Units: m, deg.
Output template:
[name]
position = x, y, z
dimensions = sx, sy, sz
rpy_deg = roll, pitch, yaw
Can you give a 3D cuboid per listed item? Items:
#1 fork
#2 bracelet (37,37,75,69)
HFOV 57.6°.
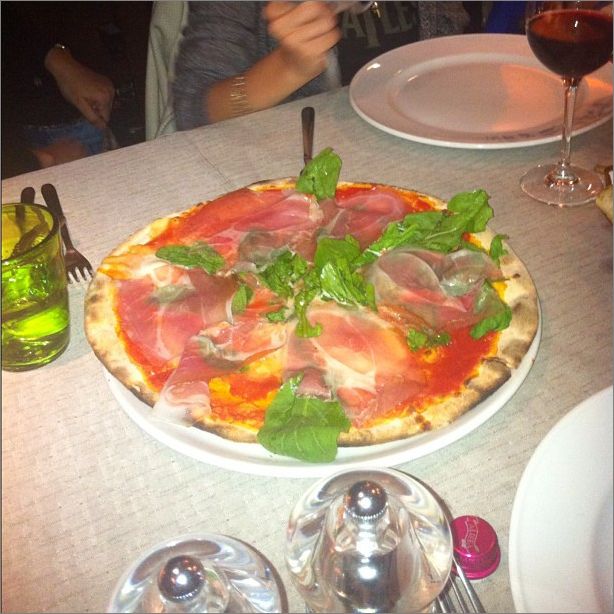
[fork]
position = -0.327, -0.098, 0.767
dimensions = 0.038, 0.024, 0.206
rpy_deg = -23, 59, -7
[bracelet]
position = -0.762, -0.767, 1.711
dimensions = 0.077, 0.044, 0.113
rpy_deg = -8, 54, -23
